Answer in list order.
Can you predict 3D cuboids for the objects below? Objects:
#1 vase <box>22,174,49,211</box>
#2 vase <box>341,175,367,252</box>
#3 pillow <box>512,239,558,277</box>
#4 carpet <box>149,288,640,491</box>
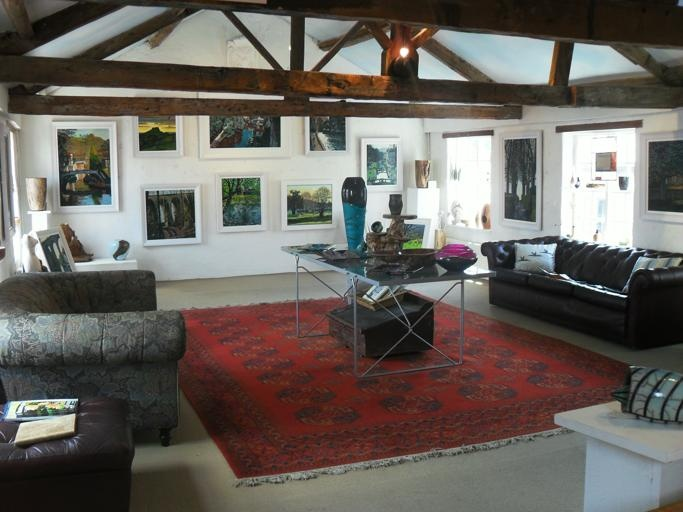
[{"bbox_3d":[-4.792,-0.974,8.420,0.292,0.517,0.427,-8,15,-27],"label":"vase"},{"bbox_3d":[0.219,-0.667,8.300,0.347,1.098,0.277,-6,16,-19],"label":"vase"},{"bbox_3d":[2.829,0.050,7.828,0.677,0.434,0.216,3,-22,9],"label":"pillow"},{"bbox_3d":[0.075,1.180,5.416,4.323,0.097,3.944,8,14,37],"label":"carpet"}]
